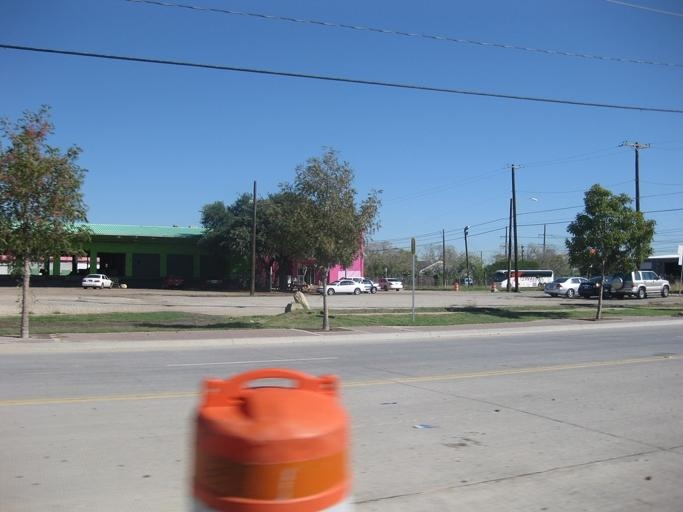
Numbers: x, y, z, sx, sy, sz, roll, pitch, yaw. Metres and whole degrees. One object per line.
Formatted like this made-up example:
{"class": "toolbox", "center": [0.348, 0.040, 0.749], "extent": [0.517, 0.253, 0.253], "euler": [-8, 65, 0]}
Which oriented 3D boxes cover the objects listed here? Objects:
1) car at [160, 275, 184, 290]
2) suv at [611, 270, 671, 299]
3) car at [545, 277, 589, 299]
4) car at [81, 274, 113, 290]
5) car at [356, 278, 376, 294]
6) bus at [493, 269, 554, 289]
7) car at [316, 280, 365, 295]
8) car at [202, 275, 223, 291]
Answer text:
{"class": "car", "center": [-14.774, 2.288, 61.176], "extent": [1.736, 1.005, 1.270], "euler": [0, -3, -19]}
{"class": "suv", "center": [19.671, 1.850, 45.985], "extent": [4.757, 1.812, 1.208], "euler": [1, -3, -32]}
{"class": "car", "center": [16.371, 2.153, 49.394], "extent": [3.030, 0.878, 1.248], "euler": [-3, 3, -24]}
{"class": "car", "center": [-20.327, 2.048, 57.929], "extent": [1.707, 1.197, 2.671], "euler": [-1, -2, 8]}
{"class": "car", "center": [2.306, 2.617, 62.206], "extent": [1.852, 0.792, 1.098], "euler": [-3, 6, -32]}
{"class": "bus", "center": [22.133, 2.788, 84.175], "extent": [8.522, 2.223, 2.649], "euler": [2, -1, -10]}
{"class": "car", "center": [0.156, 2.560, 59.904], "extent": [3.747, 1.092, 1.530], "euler": [4, -6, -23]}
{"class": "car", "center": [-11.685, 2.505, 63.582], "extent": [1.748, 1.122, 5.977], "euler": [0, -2, -10]}
